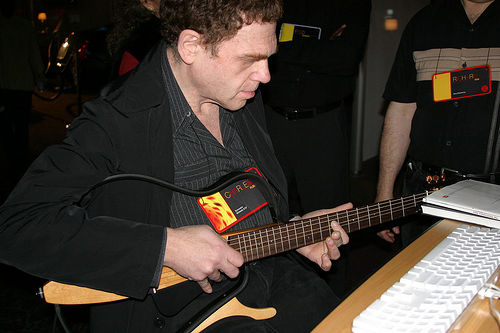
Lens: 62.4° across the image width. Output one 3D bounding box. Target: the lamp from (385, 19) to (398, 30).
[{"bbox_3d":[1.440,-1.451,4.195,0.116,0.114,0.029,2,4,-8],"label":"lamp"}]
